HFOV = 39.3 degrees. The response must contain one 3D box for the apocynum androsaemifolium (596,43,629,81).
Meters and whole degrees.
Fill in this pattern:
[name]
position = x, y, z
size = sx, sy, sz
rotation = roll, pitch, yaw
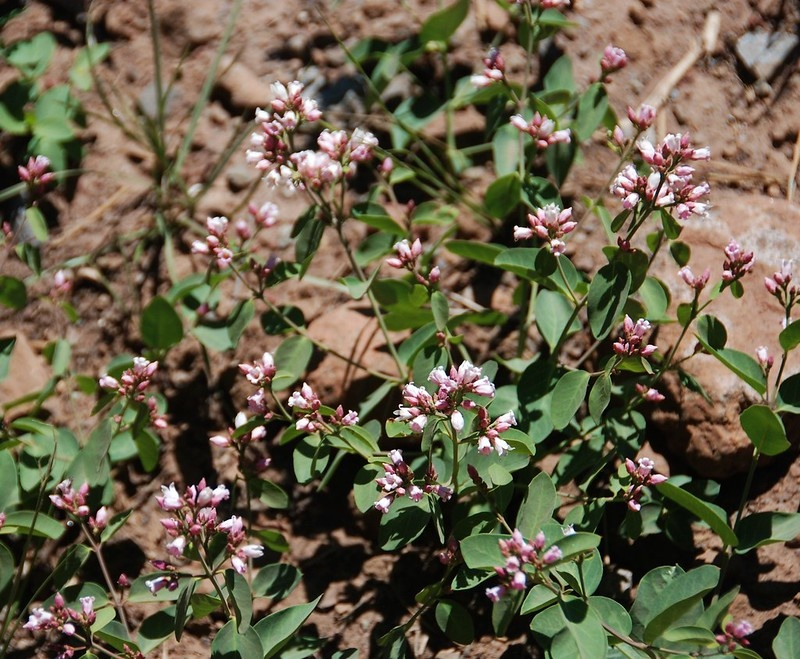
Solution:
[apocynum androsaemifolium]
position = 1.066, -1.368, 5.678
size = 0.123, 0.138, 0.245
rotation = -12, 4, 6
